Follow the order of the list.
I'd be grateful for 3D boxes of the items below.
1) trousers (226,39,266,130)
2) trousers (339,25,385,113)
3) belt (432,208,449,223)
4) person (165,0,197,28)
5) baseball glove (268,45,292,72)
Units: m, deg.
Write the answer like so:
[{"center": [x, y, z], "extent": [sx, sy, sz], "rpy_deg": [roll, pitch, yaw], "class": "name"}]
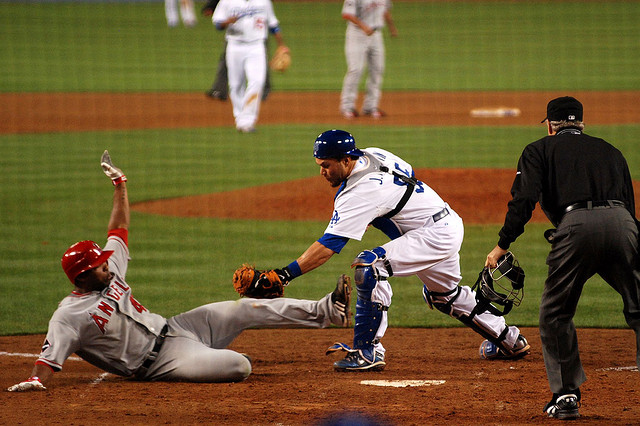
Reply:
[{"center": [-1.546, -2.735, 27.193], "extent": [0.681, 1.927, 0.905], "rpy_deg": [-8, 10, -40], "class": "trousers"}, {"center": [0.950, -3.228, 28.631], "extent": [0.924, 1.918, 1.673], "rpy_deg": [-2, 7, 0], "class": "trousers"}, {"center": [1.975, 0.024, 20.940], "extent": [0.218, 0.159, 0.221], "rpy_deg": [-41, -2, 31], "class": "belt"}, {"center": [-3.309, -4.791, 30.471], "extent": [0.562, 0.666, 2.502], "rpy_deg": [-3, 6, -9], "class": "person"}, {"center": [-0.754, -3.250, 27.214], "extent": [0.444, 0.529, 0.227], "rpy_deg": [17, -10, 35], "class": "baseball glove"}]
